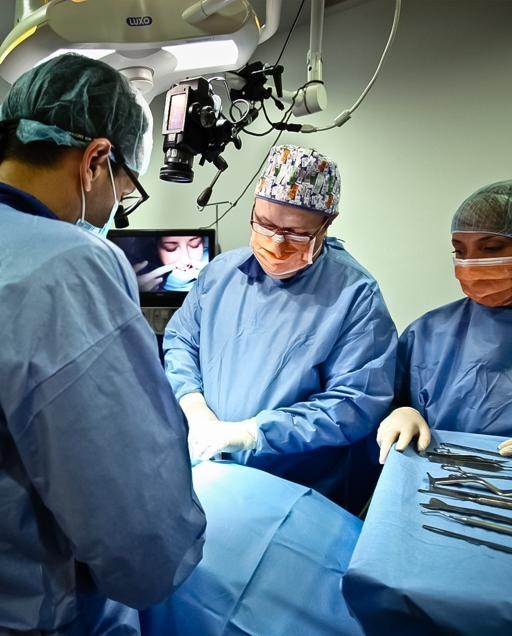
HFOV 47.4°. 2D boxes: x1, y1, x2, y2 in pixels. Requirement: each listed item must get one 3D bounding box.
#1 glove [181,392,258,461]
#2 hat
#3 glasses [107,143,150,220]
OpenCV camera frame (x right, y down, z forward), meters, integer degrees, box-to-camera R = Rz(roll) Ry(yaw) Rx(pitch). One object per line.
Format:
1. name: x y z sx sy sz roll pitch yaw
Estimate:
1. glove: -0.089 0.300 1.539 0.200 0.061 0.191 -6 23 -18
2. hat: 0.145 -0.384 1.808 0.220 0.140 0.228 30 19 28
3. glasses: -0.242 -0.285 1.169 0.030 0.096 0.093 -6 1 -22
